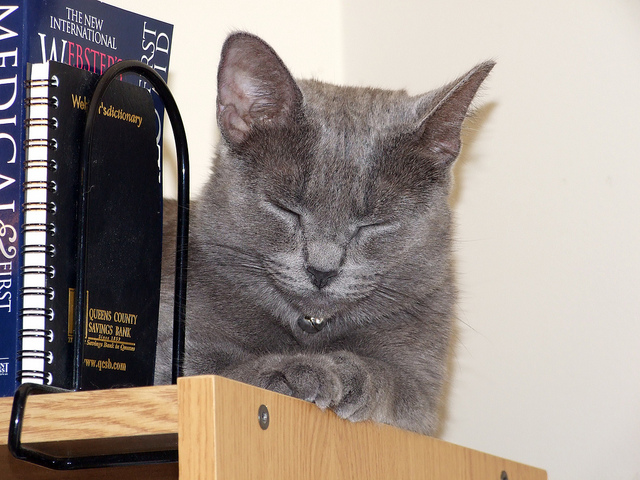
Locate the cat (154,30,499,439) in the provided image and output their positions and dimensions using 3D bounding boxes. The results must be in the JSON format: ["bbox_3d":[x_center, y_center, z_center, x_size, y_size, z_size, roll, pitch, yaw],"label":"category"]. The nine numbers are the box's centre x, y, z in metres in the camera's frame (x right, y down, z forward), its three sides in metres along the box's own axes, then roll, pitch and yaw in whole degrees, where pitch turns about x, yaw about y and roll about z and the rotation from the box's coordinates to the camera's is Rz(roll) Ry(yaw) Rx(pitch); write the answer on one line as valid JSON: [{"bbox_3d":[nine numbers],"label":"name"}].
[{"bbox_3d":[-0.033,-0.024,1.291,0.471,0.536,0.486,7,3,31],"label":"cat"}]
